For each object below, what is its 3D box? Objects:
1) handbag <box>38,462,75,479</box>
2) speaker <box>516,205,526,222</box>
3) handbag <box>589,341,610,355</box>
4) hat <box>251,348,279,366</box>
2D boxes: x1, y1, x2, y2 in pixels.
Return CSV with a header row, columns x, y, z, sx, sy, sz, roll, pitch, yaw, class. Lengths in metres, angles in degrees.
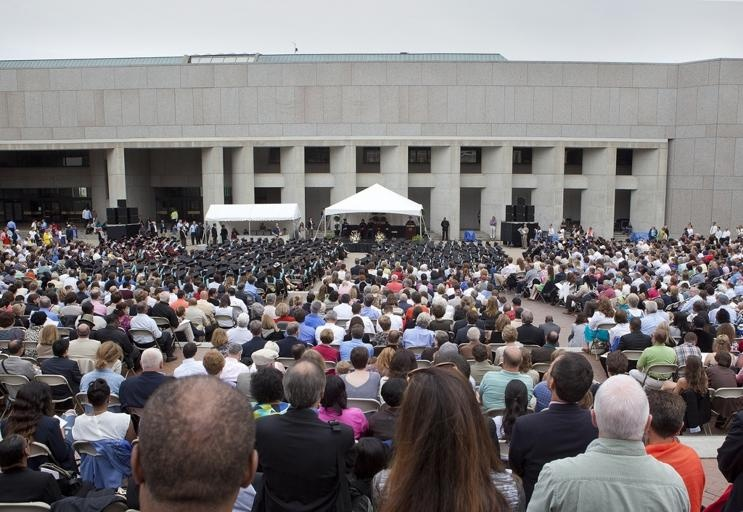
x,y,z,sx,sy,sz,roll,pitch,yaw,class
-9.081,6.208,30.111,0.643,0.251,0.514,16,-6,-14,handbag
8.511,-2.409,59.452,0.517,0.820,0.847,-5,7,-32,speaker
7.939,3.233,36.384,0.442,0.721,0.535,0,-3,-6,handbag
-3.303,3.191,32.524,0.761,0.581,0.526,-1,0,-11,hat
